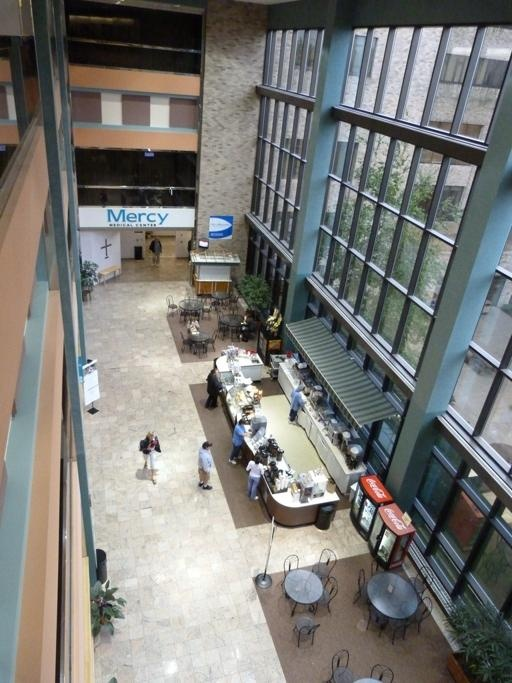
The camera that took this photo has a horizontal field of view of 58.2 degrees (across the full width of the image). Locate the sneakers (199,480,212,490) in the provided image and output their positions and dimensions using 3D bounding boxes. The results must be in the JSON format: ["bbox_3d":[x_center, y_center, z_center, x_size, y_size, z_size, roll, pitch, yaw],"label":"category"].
[{"bbox_3d":[-1.170,3.451,11.104,0.374,0.175,0.137,3,32,-29],"label":"sneakers"}]

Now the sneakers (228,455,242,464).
[{"bbox_3d":[-0.556,3.106,12.002,0.330,0.236,0.116,20,49,-41],"label":"sneakers"}]

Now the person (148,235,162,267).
[{"bbox_3d":[-5.000,-4.500,22.939,0.445,1.221,1.370,1,24,-9],"label":"person"}]

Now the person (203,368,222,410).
[{"bbox_3d":[-1.278,1.453,13.731,0.384,1.138,0.443,-33,63,-25],"label":"person"}]

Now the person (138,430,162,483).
[{"bbox_3d":[-2.574,2.641,11.103,0.505,1.198,0.672,-8,24,-31],"label":"person"}]

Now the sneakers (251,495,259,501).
[{"bbox_3d":[-0.036,3.711,10.952,0.135,0.103,0.047,-29,63,-33],"label":"sneakers"}]

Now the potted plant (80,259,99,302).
[{"bbox_3d":[-6.922,-2.536,19.173,0.547,1.416,1.921,-2,25,-16],"label":"potted plant"}]

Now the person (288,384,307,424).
[{"bbox_3d":[1.202,1.786,13.401,0.430,1.163,0.621,6,23,4],"label":"person"}]

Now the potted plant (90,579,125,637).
[{"bbox_3d":[-2.586,4.595,8.070,0.527,0.853,0.897,0,24,-10],"label":"potted plant"}]

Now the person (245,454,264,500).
[{"bbox_3d":[-0.031,3.193,10.815,0.393,1.188,0.387,6,23,3],"label":"person"}]

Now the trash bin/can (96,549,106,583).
[{"bbox_3d":[-2.832,4.199,8.440,0.158,0.766,0.336,-2,24,-16],"label":"trash bin/can"}]

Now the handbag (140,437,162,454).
[{"bbox_3d":[-2.505,2.448,10.939,0.369,0.593,0.236,5,-3,-2],"label":"handbag"}]

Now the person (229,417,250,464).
[{"bbox_3d":[-0.428,2.608,11.980,0.336,1.125,0.409,-3,50,-13],"label":"person"}]

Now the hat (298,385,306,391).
[{"bbox_3d":[1.302,1.330,13.320,0.168,0.210,0.146,5,-8,-37],"label":"hat"}]
